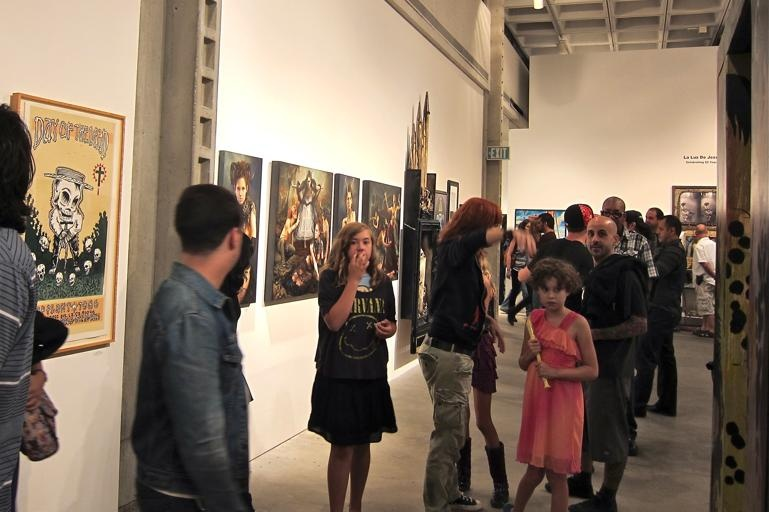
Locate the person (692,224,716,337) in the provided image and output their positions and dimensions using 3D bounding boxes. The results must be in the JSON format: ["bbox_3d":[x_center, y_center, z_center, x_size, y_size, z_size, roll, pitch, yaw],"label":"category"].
[{"bbox_3d":[6.315,0.625,11.408,0.363,2.214,0.782,1,0,26],"label":"person"}]

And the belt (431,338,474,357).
[{"bbox_3d":[0.468,0.657,4.151,0.171,0.043,0.174,17,3,-8],"label":"belt"}]

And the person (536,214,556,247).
[{"bbox_3d":[3.094,-0.449,10.911,0.363,0.707,0.732,-1,0,31],"label":"person"}]

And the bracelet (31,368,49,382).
[{"bbox_3d":[-1.685,0.587,2.788,0.019,0.059,0.059,-32,-16,18],"label":"bracelet"}]
